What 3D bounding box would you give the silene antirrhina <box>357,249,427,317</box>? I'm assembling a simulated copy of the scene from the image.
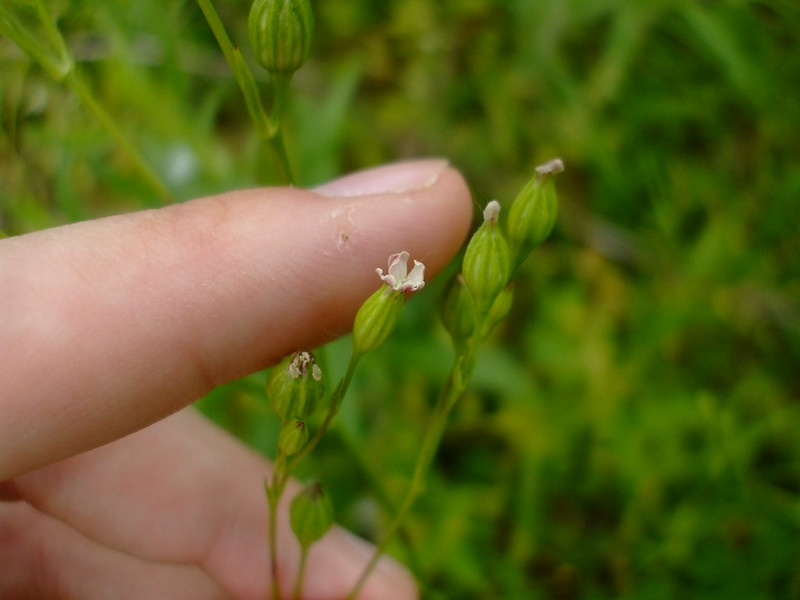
[{"bbox_3d":[-0.012,-0.041,1.431,0.092,0.152,0.081,5,82,31],"label":"silene antirrhina"}]
